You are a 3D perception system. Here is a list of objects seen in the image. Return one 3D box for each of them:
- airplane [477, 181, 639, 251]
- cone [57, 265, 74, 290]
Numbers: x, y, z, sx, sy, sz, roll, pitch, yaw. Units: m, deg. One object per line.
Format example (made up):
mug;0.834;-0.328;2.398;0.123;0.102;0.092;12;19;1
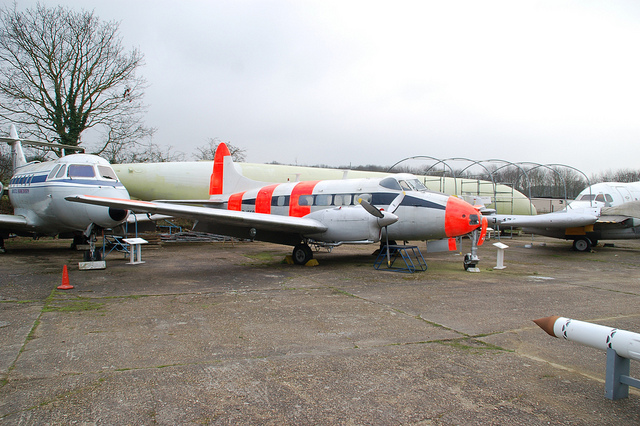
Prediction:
airplane;12.424;0.191;20.250;6.743;2.212;5.602;-1;5;11
cone;-6.630;1.602;10.632;0.356;0.607;0.728;-6;12;-30
